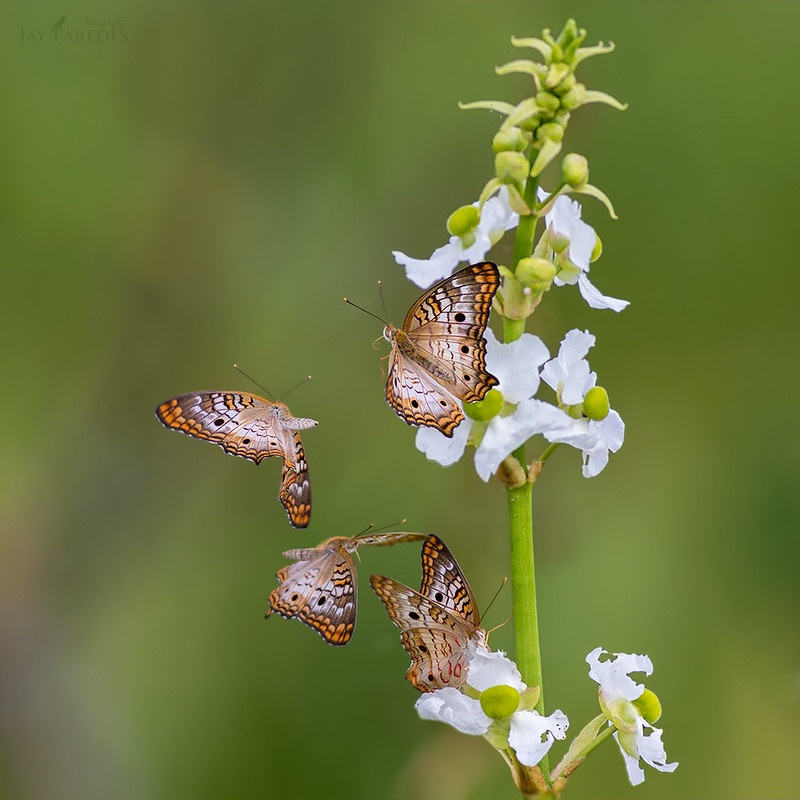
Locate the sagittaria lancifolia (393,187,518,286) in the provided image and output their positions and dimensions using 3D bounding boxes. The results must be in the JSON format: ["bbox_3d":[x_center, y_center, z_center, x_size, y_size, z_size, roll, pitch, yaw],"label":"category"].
[{"bbox_3d":[0.222,-0.592,4.618,0.417,0.374,0.478,4,-72,13],"label":"sagittaria lancifolia"}]

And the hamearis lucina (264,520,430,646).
[{"bbox_3d":[-0.206,0.884,5.748,0.384,0.783,0.747,38,-72,-25],"label":"hamearis lucina"}]

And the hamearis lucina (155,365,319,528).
[{"bbox_3d":[-0.751,0.239,5.521,0.747,0.370,0.553,16,-66,-5],"label":"hamearis lucina"}]

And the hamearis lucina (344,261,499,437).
[{"bbox_3d":[0.119,-0.198,4.502,0.578,0.314,0.661,-9,-88,42],"label":"hamearis lucina"}]
